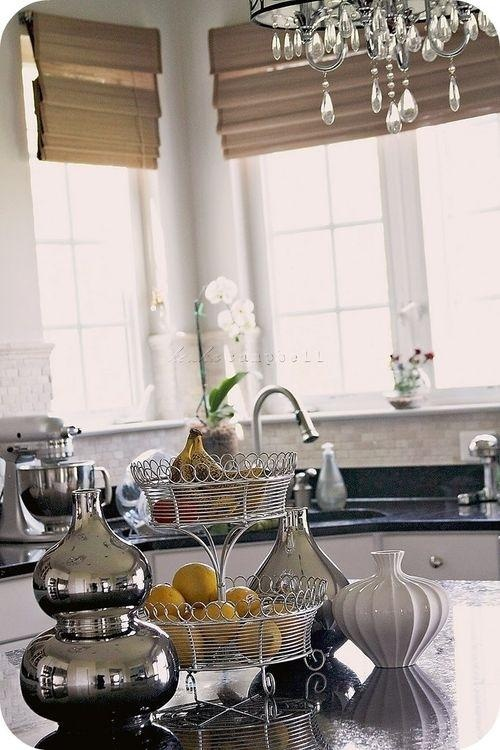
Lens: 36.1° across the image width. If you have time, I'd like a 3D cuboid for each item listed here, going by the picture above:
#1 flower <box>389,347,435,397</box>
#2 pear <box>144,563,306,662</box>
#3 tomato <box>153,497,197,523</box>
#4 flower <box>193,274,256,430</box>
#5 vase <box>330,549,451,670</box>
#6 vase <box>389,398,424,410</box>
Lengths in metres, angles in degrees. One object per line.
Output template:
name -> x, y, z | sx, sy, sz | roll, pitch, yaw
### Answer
flower -> 0.703, -0.011, 3.327 | 0.186, 0.212, 0.091 | -3, -6, 12
pear -> -0.051, 0.265, 0.937 | 0.133, 0.071, 0.135 | 1, -3, -16
tomato -> -0.091, 0.177, 1.012 | 0.058, 0.033, 0.026 | 10, -12, 25
flower -> -0.094, -0.100, 3.375 | 0.295, 0.671, 0.561 | -1, -6, -4
vase -> 0.186, 0.307, 1.018 | 0.162, 0.144, 0.153 | 5, -11, -44
vase -> 0.665, 0.120, 3.290 | 0.139, 0.053, 0.046 | -2, -6, 9
